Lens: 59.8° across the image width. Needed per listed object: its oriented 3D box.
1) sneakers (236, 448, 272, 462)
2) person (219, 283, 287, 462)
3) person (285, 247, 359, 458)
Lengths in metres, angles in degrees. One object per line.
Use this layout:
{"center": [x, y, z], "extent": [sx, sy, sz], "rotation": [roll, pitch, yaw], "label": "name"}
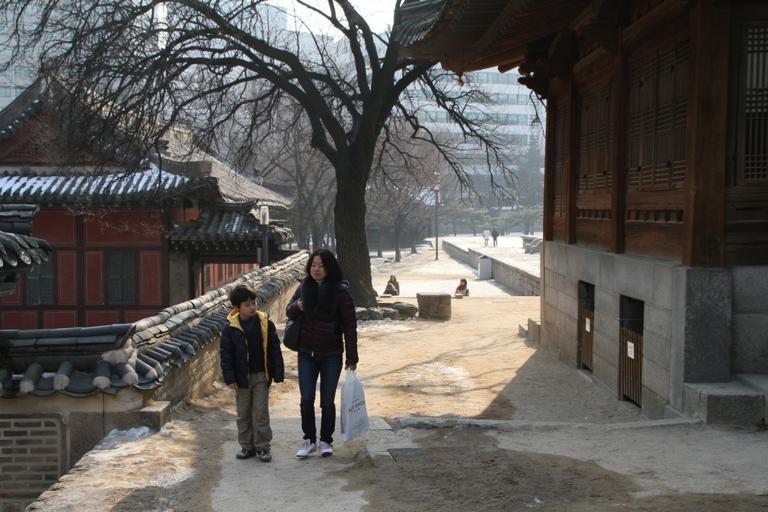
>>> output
{"center": [-1.536, 2.393, 7.959], "extent": [0.269, 0.088, 0.201], "rotation": [5, -7, -12], "label": "sneakers"}
{"center": [-1.557, 1.505, 7.921], "extent": [0.710, 1.886, 0.272], "rotation": [-2, 2, -15], "label": "person"}
{"center": [-0.756, 1.174, 8.068], "extent": [0.848, 2.499, 0.485], "rotation": [-1, 2, -7], "label": "person"}
